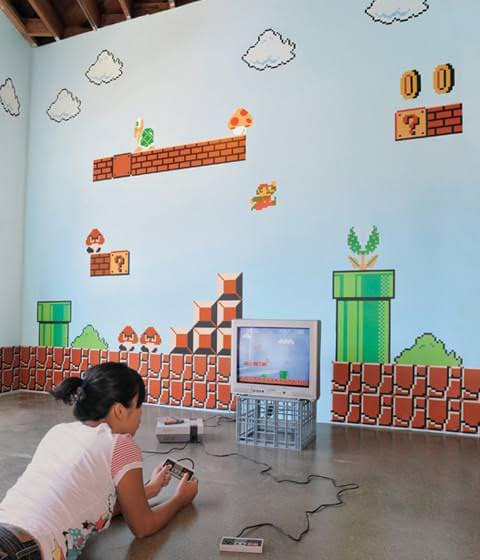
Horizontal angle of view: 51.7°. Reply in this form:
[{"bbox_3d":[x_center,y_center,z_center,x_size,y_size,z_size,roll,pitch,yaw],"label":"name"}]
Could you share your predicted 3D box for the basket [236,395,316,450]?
[{"bbox_3d":[0.196,0.773,2.746,0.444,0.268,0.293,-1,-3,9],"label":"basket"}]
